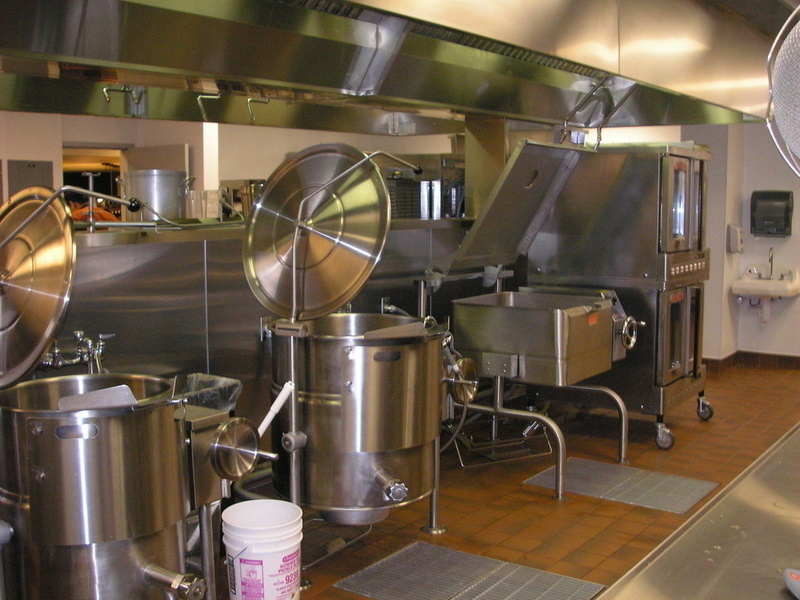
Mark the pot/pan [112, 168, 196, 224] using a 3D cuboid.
[{"bbox_3d":[-1.360,-0.587,4.325,0.367,0.300,1.104,-2,8,-17],"label":"pot/pan"}]

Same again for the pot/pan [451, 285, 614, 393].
[{"bbox_3d":[0.767,0.233,4.605,0.708,0.381,0.743,1,5,34],"label":"pot/pan"}]

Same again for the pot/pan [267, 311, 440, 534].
[{"bbox_3d":[-0.167,0.612,3.394,0.785,1.153,0.617,-2,8,-11],"label":"pot/pan"}]
